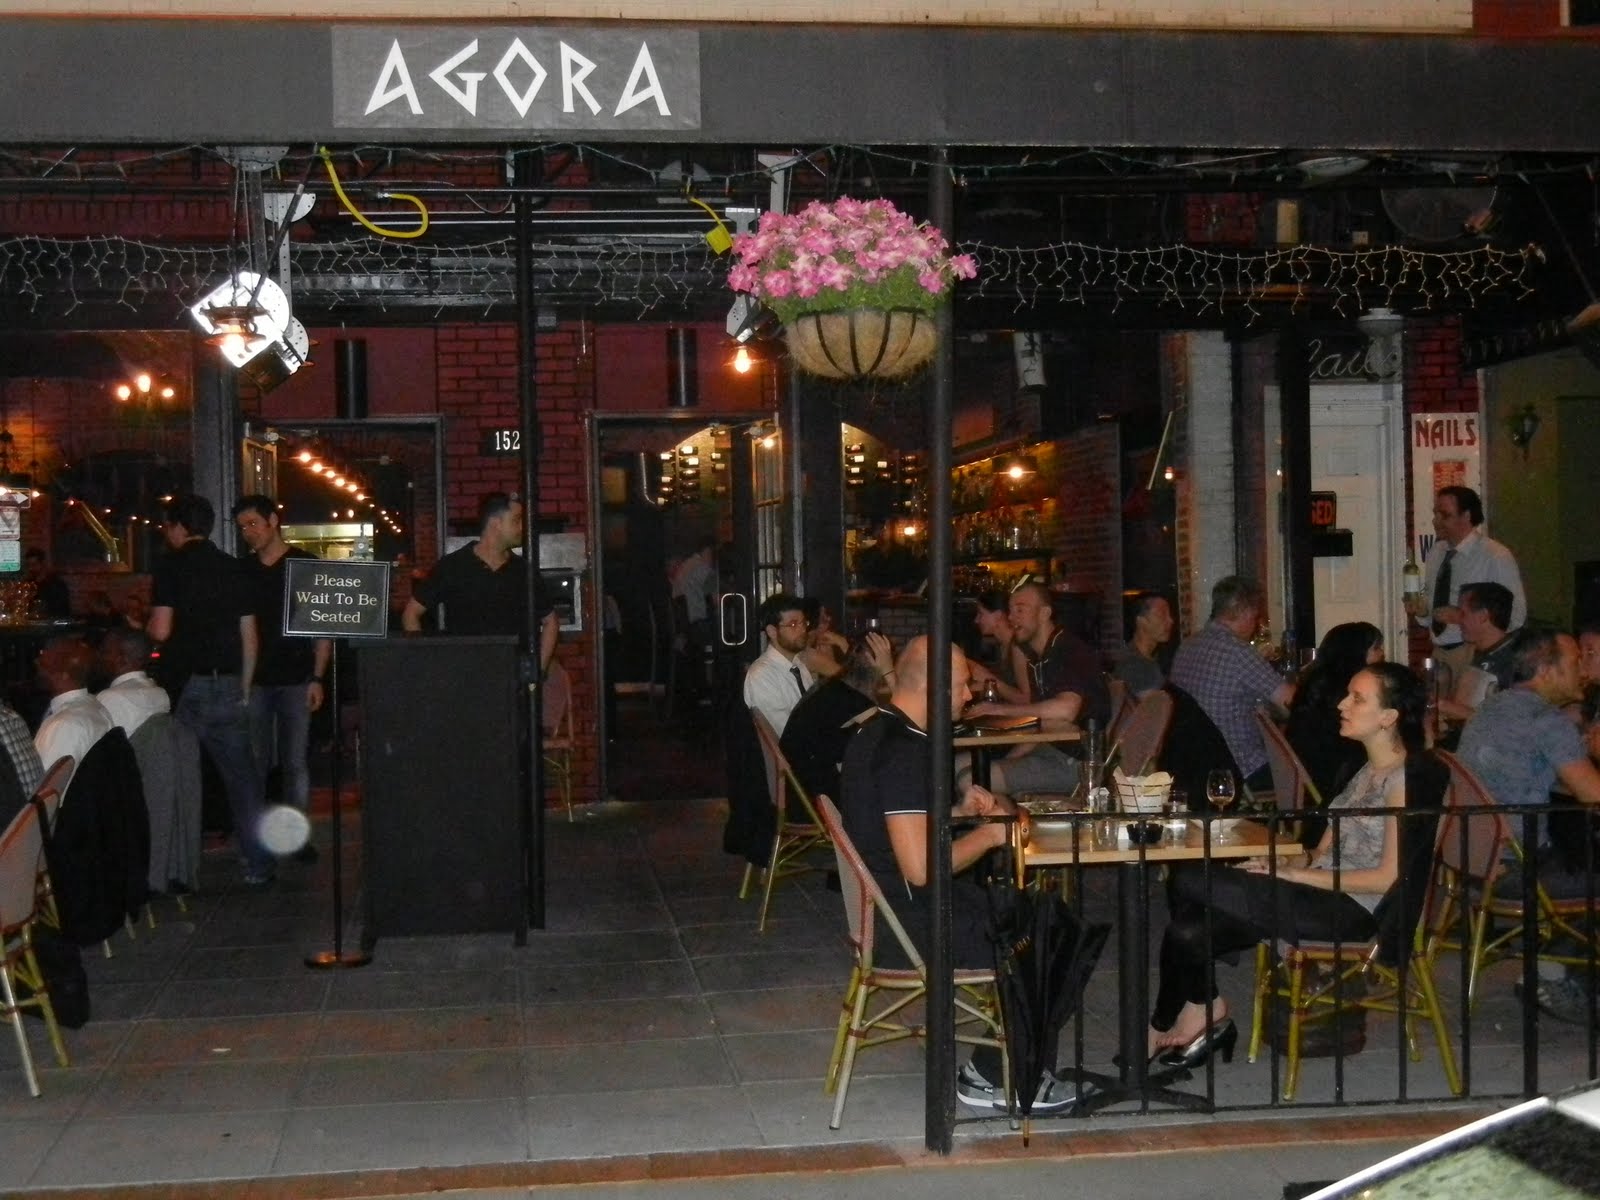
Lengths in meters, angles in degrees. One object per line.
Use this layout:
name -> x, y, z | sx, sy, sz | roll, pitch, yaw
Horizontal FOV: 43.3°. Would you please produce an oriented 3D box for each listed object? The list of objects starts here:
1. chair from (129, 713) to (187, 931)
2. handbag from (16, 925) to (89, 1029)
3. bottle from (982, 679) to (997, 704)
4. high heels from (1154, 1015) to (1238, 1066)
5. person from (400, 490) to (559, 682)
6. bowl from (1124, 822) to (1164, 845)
chair -> -3.215, 1.036, 10.034 | 0.223, 0.900, 0.375 | -4, 7, -26
handbag -> -3.095, 1.548, 8.308 | 0.095, 0.422, 0.221 | -9, 5, 40
bottle -> 1.113, 0.532, 11.827 | 0.095, 0.181, 0.100 | -4, 29, 2
high heels -> 1.637, 1.817, 8.183 | 0.385, 0.184, 0.210 | -6, -6, -16
person -> -1.652, -0.117, 10.700 | 0.686, 0.875, 1.273 | -4, 7, -27
bowl -> 1.370, 0.928, 8.030 | 0.154, 0.080, 0.161 | -1, -2, 0
